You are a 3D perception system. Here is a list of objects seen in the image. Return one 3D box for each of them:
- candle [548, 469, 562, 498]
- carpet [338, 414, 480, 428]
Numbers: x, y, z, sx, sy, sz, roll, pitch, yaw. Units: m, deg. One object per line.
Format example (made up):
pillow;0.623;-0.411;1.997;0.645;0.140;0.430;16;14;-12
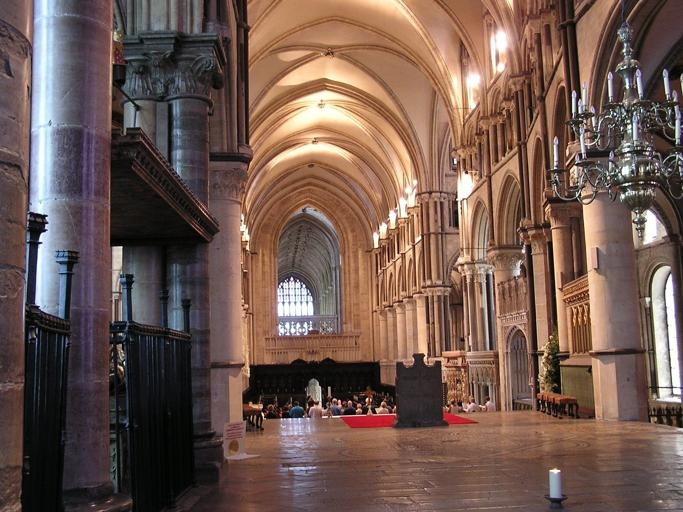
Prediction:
candle;2.119;2.260;6.653;0.120;0.268;0.094;-6;-13;15
carpet;1.551;4.081;16.688;3.159;0.362;4.244;-3;-14;-2
